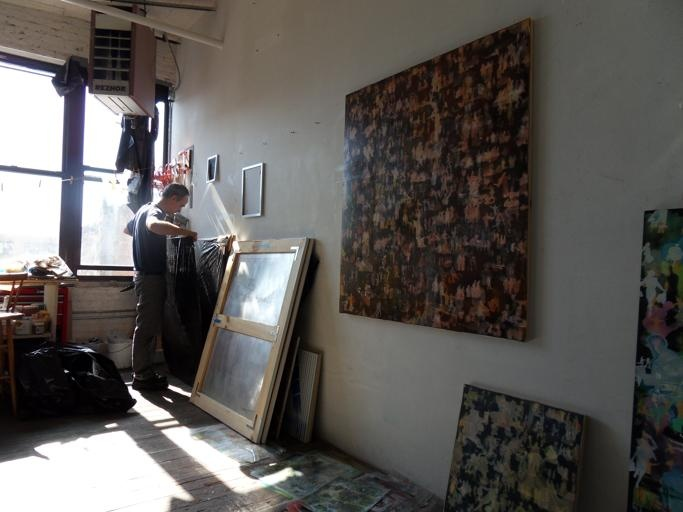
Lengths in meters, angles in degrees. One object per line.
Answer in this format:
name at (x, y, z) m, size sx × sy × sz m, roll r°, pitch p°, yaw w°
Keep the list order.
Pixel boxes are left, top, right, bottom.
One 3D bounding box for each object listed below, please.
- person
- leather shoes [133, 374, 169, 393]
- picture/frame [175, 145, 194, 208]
person at (-1.924, 0.290, 4.947) m, size 0.601 × 2.095 × 0.939 m, roll -3°, pitch 8°, yaw -26°
leather shoes at (-1.938, 1.310, 4.802) m, size 0.315 × 0.175 × 0.155 m, roll 1°, pitch 0°, yaw -21°
picture/frame at (-1.864, -0.942, 5.618) m, size 0.080 × 0.895 × 0.812 m, roll 2°, pitch -4°, yaw -29°
